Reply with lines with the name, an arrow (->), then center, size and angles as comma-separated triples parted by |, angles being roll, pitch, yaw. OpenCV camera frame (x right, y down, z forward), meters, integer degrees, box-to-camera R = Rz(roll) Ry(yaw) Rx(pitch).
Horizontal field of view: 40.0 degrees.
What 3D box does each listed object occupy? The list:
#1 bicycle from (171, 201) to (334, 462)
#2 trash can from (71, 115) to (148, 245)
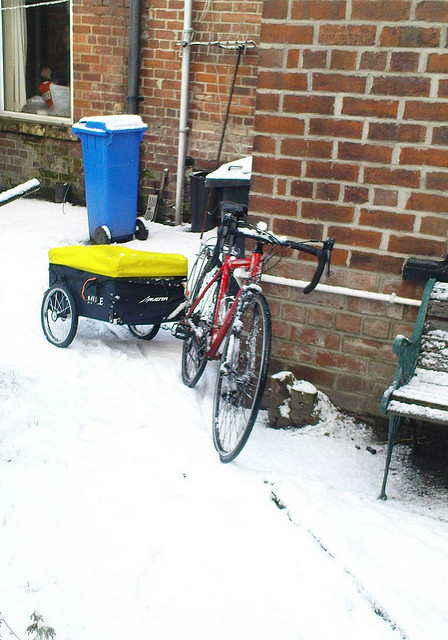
bicycle -> -0.024, -0.024, 3.413 | 0.766, 1.067, 1.805 | 20, 10, -15
trash can -> -1.117, -1.435, 6.508 | 0.765, 1.478, 0.635 | 13, 24, 23
